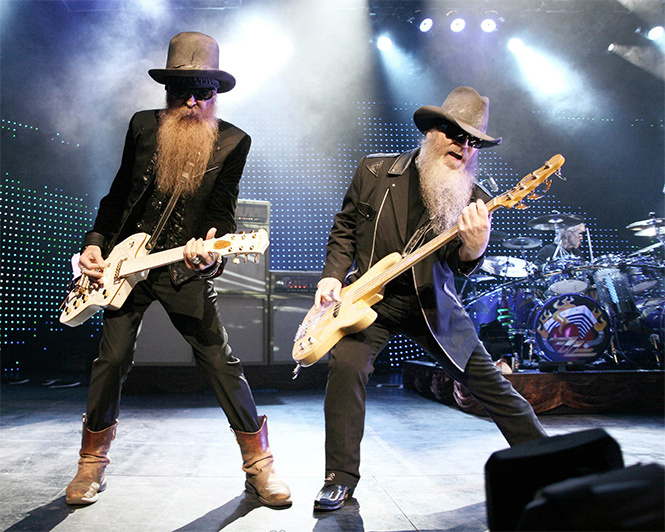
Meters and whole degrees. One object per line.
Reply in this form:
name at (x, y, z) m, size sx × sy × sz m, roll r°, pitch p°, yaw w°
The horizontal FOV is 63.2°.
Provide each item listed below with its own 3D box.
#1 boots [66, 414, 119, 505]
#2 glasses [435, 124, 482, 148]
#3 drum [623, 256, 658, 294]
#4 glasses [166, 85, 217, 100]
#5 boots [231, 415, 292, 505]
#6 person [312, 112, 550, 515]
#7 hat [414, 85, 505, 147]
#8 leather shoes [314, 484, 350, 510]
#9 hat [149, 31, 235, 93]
boots at (-1.195, 0.952, 2.668) m, size 0.152 × 0.381 × 0.208 m, roll 0°, pitch -4°, yaw 3°
glasses at (0.623, -0.652, 2.760) m, size 0.187 × 0.091 × 0.025 m, roll 20°, pitch 41°, yaw 28°
drum at (3.557, 0.124, 6.267) m, size 0.416 × 0.391 × 0.149 m, roll -1°, pitch -4°, yaw 17°
glasses at (-0.739, -0.899, 2.817) m, size 0.131 × 0.038 × 0.128 m, roll 1°, pitch 5°, yaw -10°
boots at (-0.354, 0.984, 2.718) m, size 0.172 × 0.355 × 0.379 m, roll -9°, pitch 9°, yaw -34°
person at (0.579, 0.147, 2.779) m, size 1.466 × 1.926 × 1.035 m, roll 1°, pitch 2°, yaw -11°
hat at (0.619, -0.827, 2.870) m, size 0.342 × 0.195 × 0.395 m, roll 27°, pitch -12°, yaw -22°
leather shoes at (-0.002, 1.092, 2.554) m, size 0.074 × 0.081 × 0.213 m, roll -19°, pitch -20°, yaw 28°
hat at (-0.714, -1.028, 2.857) m, size 0.339 × 0.189 × 0.361 m, roll 2°, pitch -5°, yaw 2°
